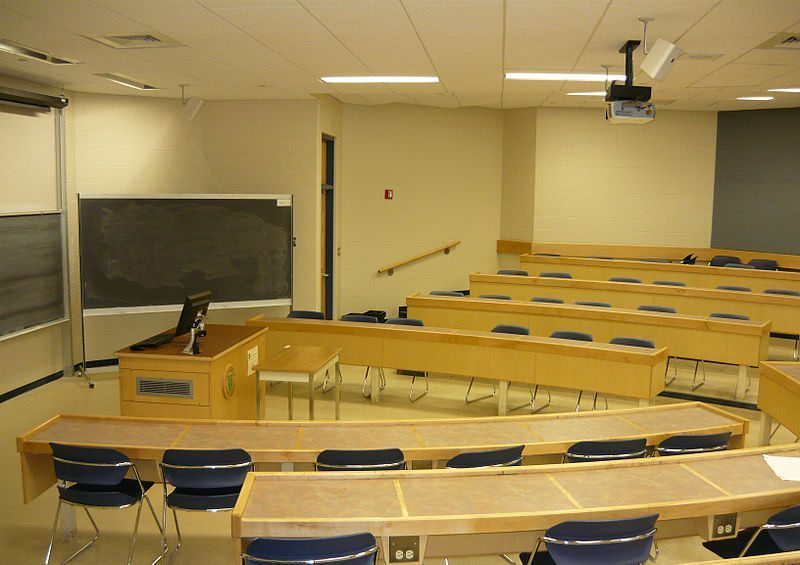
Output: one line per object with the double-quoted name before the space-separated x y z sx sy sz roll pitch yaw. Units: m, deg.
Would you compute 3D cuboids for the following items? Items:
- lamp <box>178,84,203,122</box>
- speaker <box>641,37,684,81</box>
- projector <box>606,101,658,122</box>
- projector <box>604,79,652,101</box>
"lamp" -3.273 -2.696 9.116 0.389 0.597 0.325 0 13 2
"speaker" 2.742 -2.340 6.295 0.186 0.435 0.388 -5 10 -35
"projector" 2.796 -2.060 7.337 0.406 0.131 0.285 1 8 -1
"projector" 2.763 -2.272 7.222 0.338 0.166 0.358 -8 15 -34
